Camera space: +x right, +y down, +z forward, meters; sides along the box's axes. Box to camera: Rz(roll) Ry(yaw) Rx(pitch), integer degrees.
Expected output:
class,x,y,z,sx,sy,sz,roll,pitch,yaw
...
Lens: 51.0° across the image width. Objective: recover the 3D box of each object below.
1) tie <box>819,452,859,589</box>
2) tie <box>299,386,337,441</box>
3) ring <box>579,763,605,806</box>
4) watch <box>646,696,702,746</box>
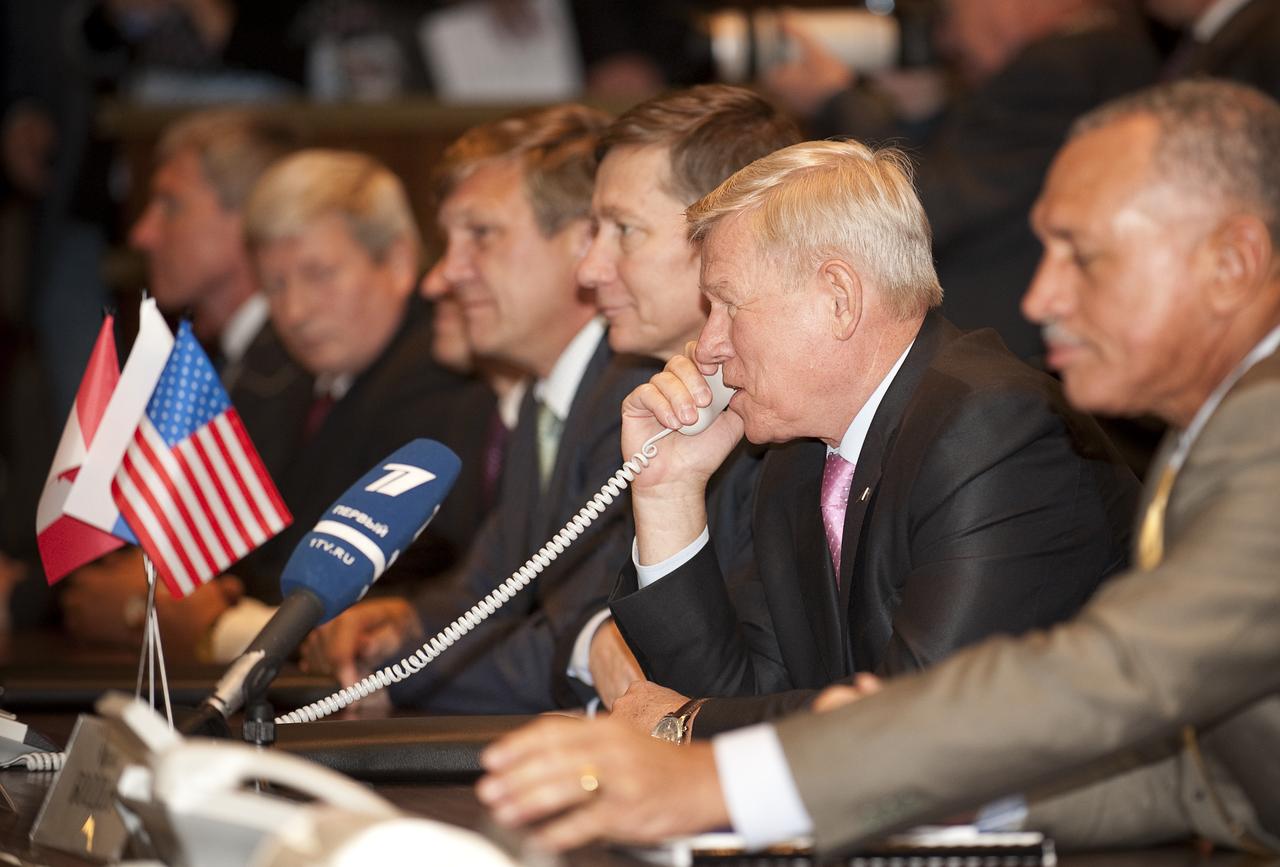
class,x,y,z,sx,sy,sz,roll,pitch,yaw
tie,0.423,0.166,2.878,0.056,0.216,0.131,2,-2,-31
tie,-1.007,-0.061,4.202,0.053,0.068,0.232,-29,15,9
ring,-0.073,0.510,1.942,0.041,0.049,0.015,-1,10,4
watch,0.071,0.582,2.681,0.070,0.034,0.093,-12,35,44
